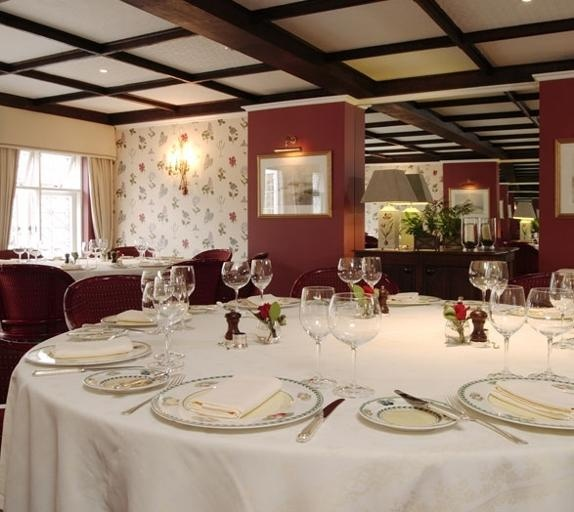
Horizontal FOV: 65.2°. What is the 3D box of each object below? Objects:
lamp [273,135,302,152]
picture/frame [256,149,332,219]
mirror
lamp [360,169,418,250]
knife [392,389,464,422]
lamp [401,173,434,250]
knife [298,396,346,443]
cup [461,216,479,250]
[{"bbox_3d":[0.018,-1.403,5.631,0.284,0.159,0.089,2,-7,30],"label":"lamp"},{"bbox_3d":[0.128,-0.904,5.607,1.050,0.701,0.047,2,3,29],"label":"picture/frame"},{"bbox_3d":[2.507,-1.435,7.118,2.569,1.438,1.377,3,6,39],"label":"mirror"},{"bbox_3d":[1.082,-0.491,4.814,0.640,0.749,0.603,3,5,7],"label":"lamp"},{"bbox_3d":[0.270,0.287,0.859,0.028,0.017,0.148,-19,18,-23],"label":"knife"},{"bbox_3d":[1.409,-0.559,5.127,0.452,0.662,0.433,1,8,-6],"label":"lamp"},{"bbox_3d":[0.062,0.291,0.811,0.026,0.008,0.167,7,7,23],"label":"knife"},{"bbox_3d":[1.990,-0.237,4.882,0.187,0.340,0.311,2,4,14],"label":"cup"}]
